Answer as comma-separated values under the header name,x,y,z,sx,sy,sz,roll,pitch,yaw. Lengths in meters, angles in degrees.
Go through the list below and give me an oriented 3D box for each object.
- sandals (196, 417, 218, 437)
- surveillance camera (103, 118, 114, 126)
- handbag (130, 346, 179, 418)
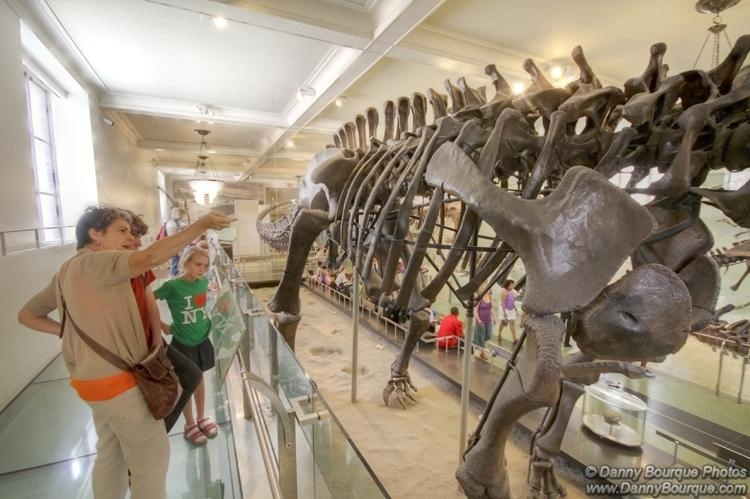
name,x,y,z,sx,sy,sz,roll,pitch,yaw
sandals,-1.606,1.684,4.245,0.269,0.102,0.105,-7,-11,44
surveillance camera,-4.742,-2.249,7.837,0.234,0.061,0.055,32,-16,44
handbag,-1.754,1.040,3.640,0.220,0.514,0.581,-18,10,-11
